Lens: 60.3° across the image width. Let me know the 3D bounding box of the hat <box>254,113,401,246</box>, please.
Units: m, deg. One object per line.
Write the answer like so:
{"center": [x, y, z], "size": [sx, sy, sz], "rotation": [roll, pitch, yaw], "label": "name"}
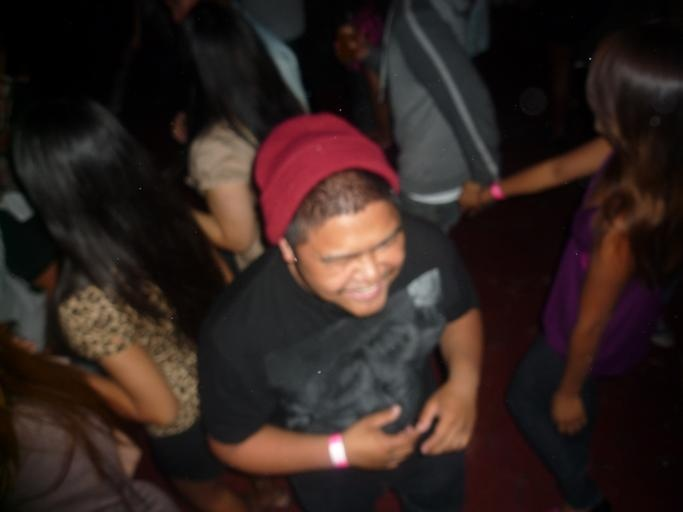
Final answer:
{"center": [-0.064, -0.297, 2.046], "size": [0.475, 0.313, 0.276], "rotation": [-15, 39, -8], "label": "hat"}
